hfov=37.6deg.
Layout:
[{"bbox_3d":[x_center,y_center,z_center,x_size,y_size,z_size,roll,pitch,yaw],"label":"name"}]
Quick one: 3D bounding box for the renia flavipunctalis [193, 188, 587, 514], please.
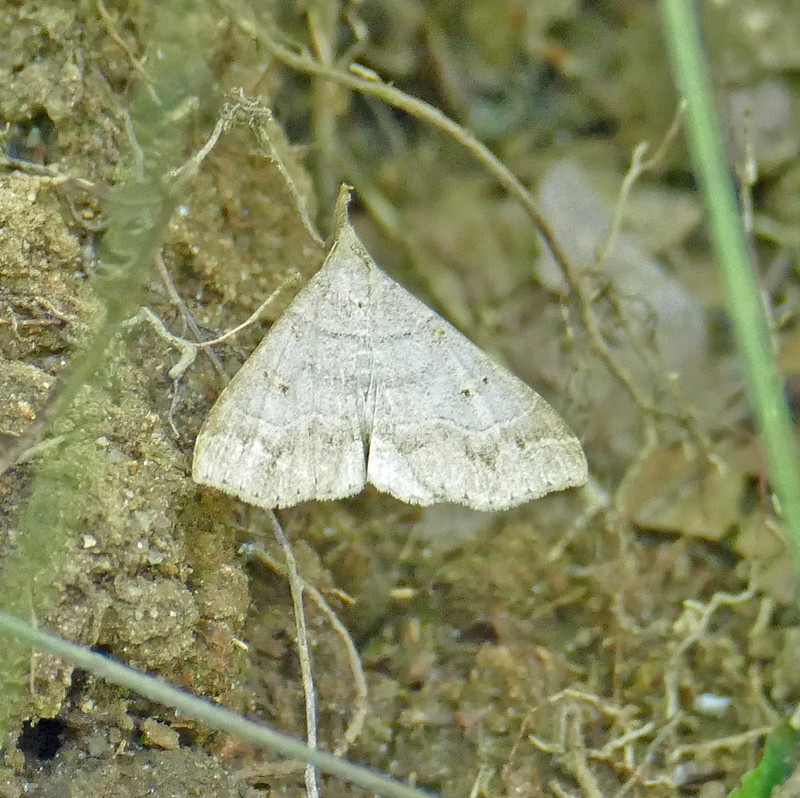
[{"bbox_3d":[0.005,0.020,1.342,0.391,0.262,0.337,26,52,18],"label":"renia flavipunctalis"}]
